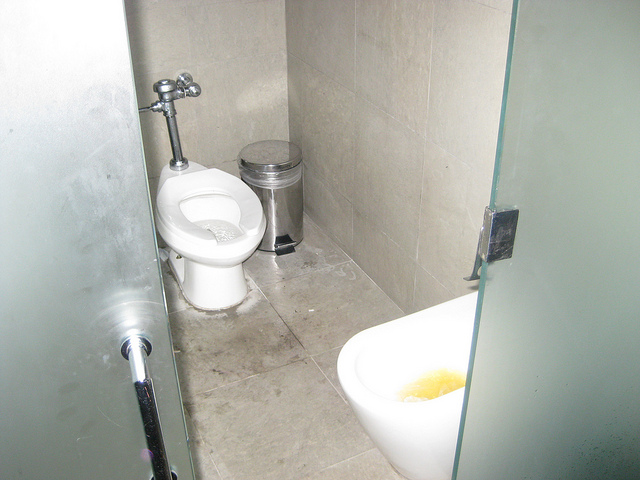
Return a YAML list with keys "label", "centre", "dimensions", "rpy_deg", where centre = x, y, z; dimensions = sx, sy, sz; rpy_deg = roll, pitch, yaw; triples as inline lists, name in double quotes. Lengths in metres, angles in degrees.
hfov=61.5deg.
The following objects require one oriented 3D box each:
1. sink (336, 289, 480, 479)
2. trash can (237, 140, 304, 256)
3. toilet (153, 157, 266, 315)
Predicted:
- label: "sink"
  centre: [0.266, 0.531, 1.794]
  dimensions: [0.381, 0.595, 0.493]
  rpy_deg: [9, 38, 13]
- label: "trash can"
  centre: [-0.267, -0.230, 2.875]
  dimensions: [0.311, 0.469, 0.431]
  rpy_deg: [-19, 44, -20]
- label: "toilet"
  centre: [-0.542, -0.034, 2.698]
  dimensions: [0.496, 0.631, 0.607]
  rpy_deg: [-13, 39, -15]
